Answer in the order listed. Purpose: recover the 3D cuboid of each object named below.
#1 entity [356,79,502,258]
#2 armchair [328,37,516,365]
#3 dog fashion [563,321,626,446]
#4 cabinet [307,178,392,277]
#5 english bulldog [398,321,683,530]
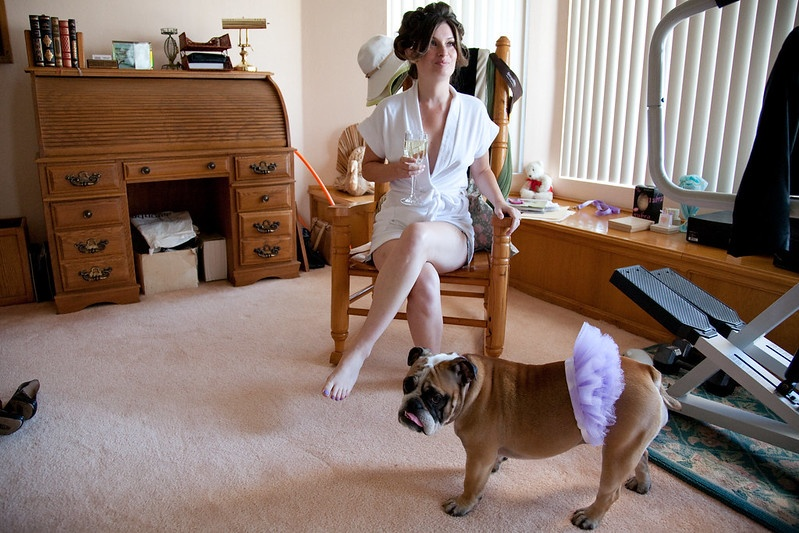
[{"bbox_3d":[0.175,-0.454,2.505,0.790,0.877,0.507,-1,34,1],"label":"entity"},{"bbox_3d":[0.197,-0.269,2.815,0.955,1.559,0.923,0,-4,22],"label":"armchair"},{"bbox_3d":[0.605,0.375,1.699,0.133,0.345,0.228,3,11,-1],"label":"dog fashion"},{"bbox_3d":[-0.408,-0.376,3.702,0.484,0.526,0.505,8,23,-12],"label":"cabinet"},{"bbox_3d":[0.420,0.370,1.953,1.028,0.738,0.513,2,47,24],"label":"english bulldog"}]
